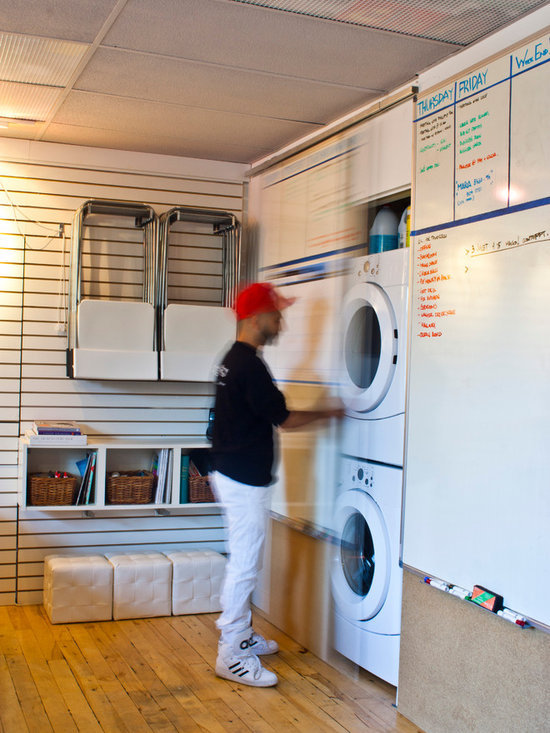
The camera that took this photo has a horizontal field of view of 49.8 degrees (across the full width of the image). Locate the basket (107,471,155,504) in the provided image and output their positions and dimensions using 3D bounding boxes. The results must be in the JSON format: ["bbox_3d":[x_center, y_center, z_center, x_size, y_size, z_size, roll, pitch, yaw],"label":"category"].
[{"bbox_3d":[-0.857,0.731,3.558,0.275,0.188,0.138,5,-9,-21],"label":"basket"}]

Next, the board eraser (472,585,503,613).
[{"bbox_3d":[0.625,0.695,1.779,0.054,0.046,0.086,7,14,-42],"label":"board eraser"}]

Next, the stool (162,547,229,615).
[{"bbox_3d":[-0.526,1.343,3.631,0.357,0.328,0.372,7,-19,-24],"label":"stool"}]

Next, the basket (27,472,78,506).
[{"bbox_3d":[-1.284,0.687,3.449,0.203,0.133,0.207,3,-5,-21],"label":"basket"}]

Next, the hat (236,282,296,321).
[{"bbox_3d":[-0.028,-0.146,1.365,0.122,0.065,0.077,-26,9,7],"label":"hat"}]

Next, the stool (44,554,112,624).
[{"bbox_3d":[-1.086,1.222,3.400,0.357,0.334,0.349,1,-1,-5],"label":"stool"}]

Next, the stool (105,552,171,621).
[{"bbox_3d":[-0.783,1.314,3.534,0.360,0.319,0.362,3,-13,-21],"label":"stool"}]

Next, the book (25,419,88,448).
[{"bbox_3d":[-1.255,0.389,3.433,0.319,0.153,0.350,5,-9,-22],"label":"book"}]

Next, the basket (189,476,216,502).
[{"bbox_3d":[-0.460,0.761,3.707,0.141,0.136,0.183,0,-4,-6],"label":"basket"}]
